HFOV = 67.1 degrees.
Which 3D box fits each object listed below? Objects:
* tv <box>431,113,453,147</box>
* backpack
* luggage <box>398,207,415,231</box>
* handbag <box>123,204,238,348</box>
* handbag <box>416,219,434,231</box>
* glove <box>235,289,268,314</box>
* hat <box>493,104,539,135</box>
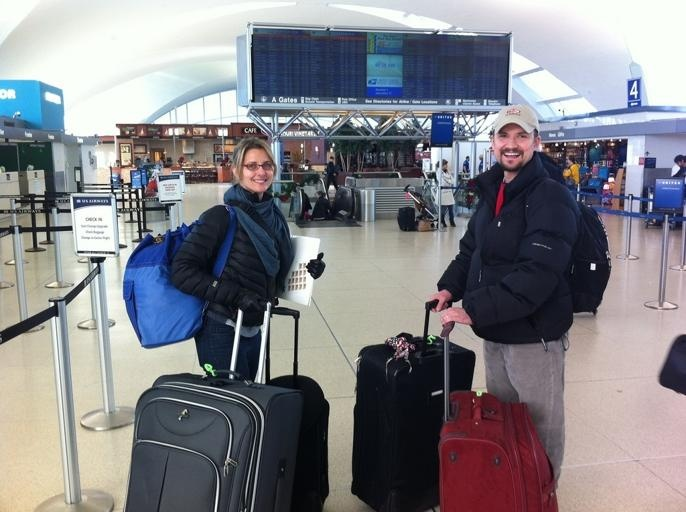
[{"bbox_3d":[2.580,-3.308,13.451,0.784,1.136,0.125,-1,11,-4],"label":"tv"},{"bbox_3d":[1.231,-0.058,2.877,0.389,0.801,0.552,-1,8,2],"label":"backpack"},{"bbox_3d":[1.672,-0.956,13.349,0.471,0.609,0.334,1,7,9],"label":"luggage"},{"bbox_3d":[-0.776,0.133,3.087,0.789,0.839,0.512,-6,5,-3],"label":"handbag"},{"bbox_3d":[2.121,-0.777,13.477,0.353,0.274,0.366,-1,-1,-3],"label":"handbag"},{"bbox_3d":[-0.482,0.237,2.694,0.126,0.055,0.129,36,4,10],"label":"glove"},{"bbox_3d":[0.878,-0.700,2.630,0.212,0.175,0.245,2,7,16],"label":"hat"}]
